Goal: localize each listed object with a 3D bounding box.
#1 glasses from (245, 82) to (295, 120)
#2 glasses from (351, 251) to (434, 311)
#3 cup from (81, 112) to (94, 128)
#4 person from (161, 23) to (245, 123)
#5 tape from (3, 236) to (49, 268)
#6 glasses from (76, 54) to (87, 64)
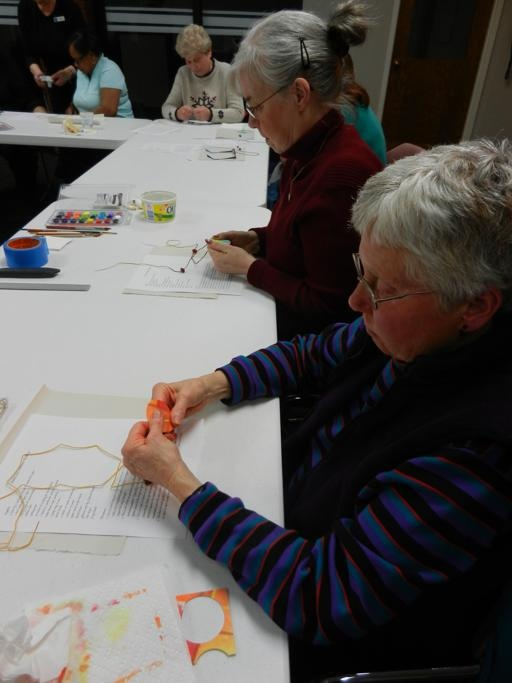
[{"bbox_3d":[0.038,-0.613,1.384,0.073,0.021,0.069,-32,13,-22],"label":"glasses"},{"bbox_3d":[0.194,-0.082,0.785,0.096,0.027,0.092,-5,31,-17],"label":"glasses"},{"bbox_3d":[-1.004,-1.324,3.258,0.087,0.092,0.084,1,26,0],"label":"cup"},{"bbox_3d":[-0.341,-1.754,3.712,0.613,0.706,0.484,16,41,22],"label":"person"},{"bbox_3d":[-0.651,-0.257,1.546,0.087,0.057,0.112,9,32,1],"label":"tape"},{"bbox_3d":[-1.198,-1.926,3.734,0.040,0.065,0.084,-26,45,-30],"label":"glasses"}]
